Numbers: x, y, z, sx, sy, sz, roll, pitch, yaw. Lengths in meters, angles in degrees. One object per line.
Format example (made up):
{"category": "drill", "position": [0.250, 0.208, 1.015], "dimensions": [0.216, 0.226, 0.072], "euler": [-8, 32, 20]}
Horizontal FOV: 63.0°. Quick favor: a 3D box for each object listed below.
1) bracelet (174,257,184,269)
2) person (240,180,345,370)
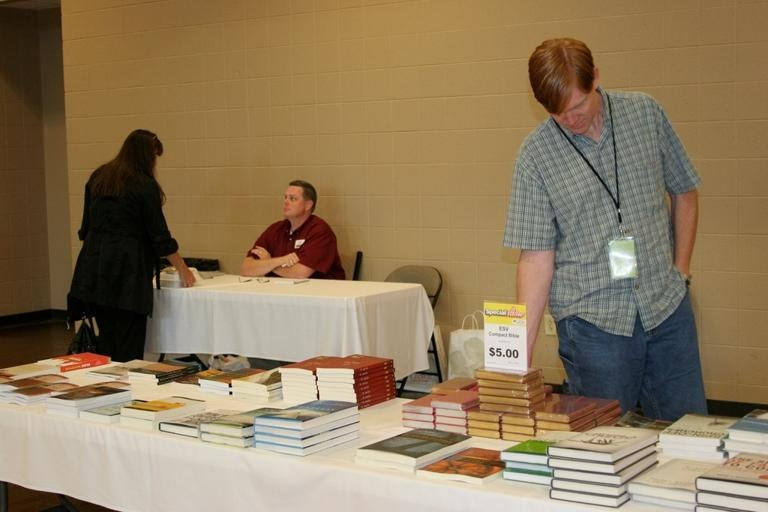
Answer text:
{"category": "bracelet", "position": [-1.501, 0.061, 4.629], "dimensions": [0.079, 0.088, 0.086], "euler": [-1, 15, -5]}
{"category": "person", "position": [-0.746, -0.179, 5.353], "dimensions": [0.829, 0.918, 0.829], "euler": [0, 2, 1]}
